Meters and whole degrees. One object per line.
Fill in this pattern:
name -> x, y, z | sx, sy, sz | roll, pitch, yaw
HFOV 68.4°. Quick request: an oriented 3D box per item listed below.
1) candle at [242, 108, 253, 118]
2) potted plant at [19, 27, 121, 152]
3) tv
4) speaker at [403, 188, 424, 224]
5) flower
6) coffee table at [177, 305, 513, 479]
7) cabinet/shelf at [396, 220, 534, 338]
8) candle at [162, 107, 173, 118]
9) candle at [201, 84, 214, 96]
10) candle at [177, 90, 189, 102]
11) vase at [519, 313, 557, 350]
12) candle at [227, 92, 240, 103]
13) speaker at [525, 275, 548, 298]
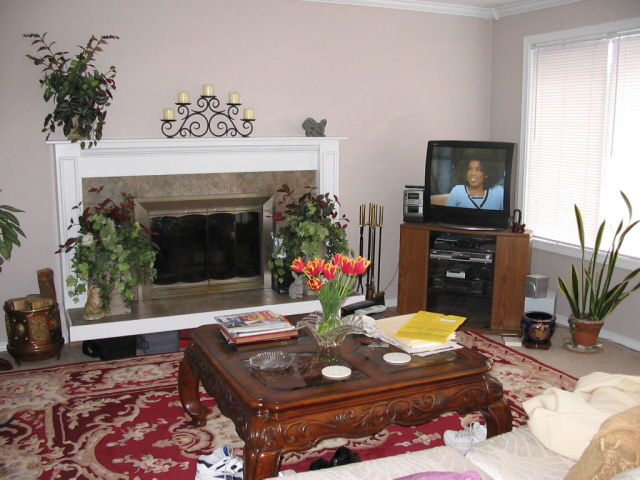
candle -> -0.622, -1.101, 4.123 | 0.084, 0.094, 0.090 | 0, 12, -1
potted plant -> -1.934, -1.197, 3.735 | 0.616, 0.928, 0.616 | -7, 14, -29
tv -> 1.394, -0.505, 4.342 | 0.803, 0.740, 0.442 | 5, 11, 22
speaker -> 0.916, -0.355, 4.650 | 0.190, 0.345, 0.160 | 2, 12, 10
flower -> 0.097, 0.319, 2.497 | 0.374, 0.410, 0.386 | 2, -14, 11
coffee table -> -0.090, 0.614, 2.307 | 0.936, 0.364, 0.893 | -6, 12, -26
cabinet/shelf -> 1.326, 0.333, 4.180 | 1.029, 0.791, 0.325 | 5, 10, 20
candle -> -1.262, -1.060, 3.919 | 0.085, 0.088, 0.082 | 1, 7, 4
candle -> -0.948, -1.265, 4.000 | 0.106, 0.112, 0.104 | 1, 7, 9
candle -> -1.129, -1.204, 3.958 | 0.092, 0.096, 0.089 | 2, 8, 6
vase -> 1.807, 0.744, 4.066 | 0.322, 0.301, 0.299 | 0, 7, 7
candle -> -0.725, -1.195, 4.033 | 0.108, 0.107, 0.103 | -1, 5, -28
speaker -> 2.009, 0.420, 4.348 | 0.232, 0.207, 0.104 | -2, 12, -9
